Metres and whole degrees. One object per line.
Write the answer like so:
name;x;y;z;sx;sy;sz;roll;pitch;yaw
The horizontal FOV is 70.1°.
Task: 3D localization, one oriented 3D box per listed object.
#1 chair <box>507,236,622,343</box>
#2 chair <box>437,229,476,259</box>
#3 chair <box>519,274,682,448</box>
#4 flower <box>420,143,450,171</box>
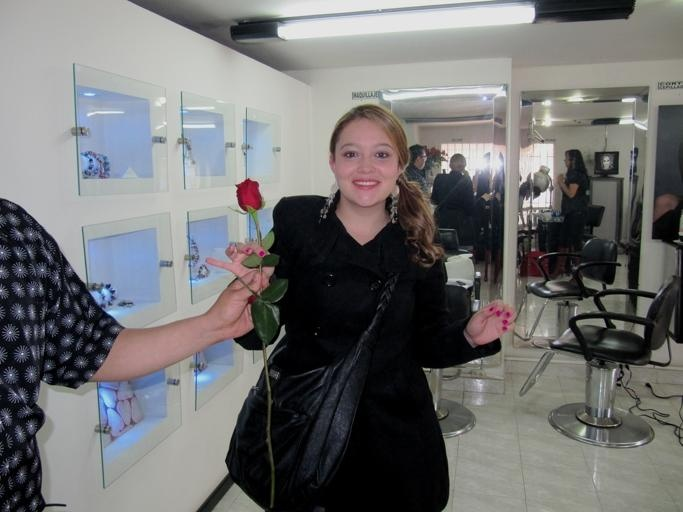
chair;1.964;0.324;4.274;0.783;0.924;0.629;-3;8;-3
chair;0.895;-0.094;3.708;0.293;0.309;0.230;1;4;-4
chair;1.865;0.677;3.401;0.741;1.160;0.706;-3;10;-1
flower;0.777;-0.834;4.015;0.172;0.176;0.177;5;8;22
